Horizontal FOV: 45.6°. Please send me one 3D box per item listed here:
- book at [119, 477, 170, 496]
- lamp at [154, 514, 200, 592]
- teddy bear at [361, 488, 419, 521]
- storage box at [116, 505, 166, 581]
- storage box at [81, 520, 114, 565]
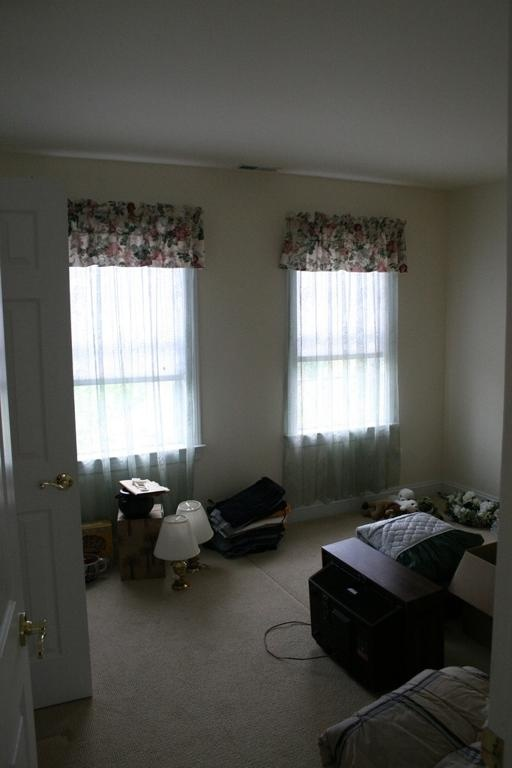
[{"bbox_3d":[-0.562,0.507,3.014,0.184,0.039,0.282,-5,7,-27],"label":"book"},{"bbox_3d":[-0.347,0.774,2.799,0.180,0.311,0.181,-4,9,-31],"label":"lamp"},{"bbox_3d":[0.870,0.765,3.828,0.229,0.095,0.184,-7,5,-25],"label":"teddy bear"},{"bbox_3d":[-0.562,0.790,3.124,0.265,0.376,0.367,-1,7,-6],"label":"storage box"},{"bbox_3d":[-0.799,0.811,3.088,0.137,0.224,0.234,-3,6,-9],"label":"storage box"}]
